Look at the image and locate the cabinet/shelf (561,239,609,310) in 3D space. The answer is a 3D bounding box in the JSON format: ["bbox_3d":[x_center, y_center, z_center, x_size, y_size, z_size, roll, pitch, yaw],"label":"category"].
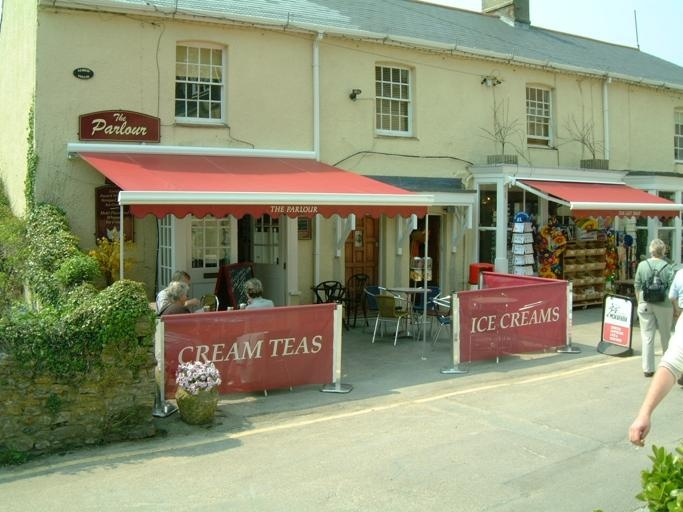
[{"bbox_3d":[6.235,0.488,20.938,1.754,1.909,0.770,-2,2,-34],"label":"cabinet/shelf"}]

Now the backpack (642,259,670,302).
[{"bbox_3d":[5.617,0.452,14.444,0.391,0.659,0.337,0,10,36],"label":"backpack"}]

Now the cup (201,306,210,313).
[{"bbox_3d":[-2.466,0.954,14.607,0.142,0.095,0.141,0,-1,0],"label":"cup"}]

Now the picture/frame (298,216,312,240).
[{"bbox_3d":[-0.872,-0.649,18.738,0.047,0.481,0.468,-6,-8,43],"label":"picture/frame"}]

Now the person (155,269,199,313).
[{"bbox_3d":[-3.134,0.657,15.335,0.693,1.288,0.547,-7,15,-30],"label":"person"}]

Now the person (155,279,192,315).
[{"bbox_3d":[-2.978,0.743,14.408,0.617,0.729,0.386,9,10,44],"label":"person"}]

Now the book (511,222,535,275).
[{"bbox_3d":[4.596,-0.216,20.564,0.483,1.412,0.401,-1,3,4],"label":"book"}]

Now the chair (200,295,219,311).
[{"bbox_3d":[-2.583,0.900,15.758,0.309,0.243,0.321,0,-2,11],"label":"chair"}]

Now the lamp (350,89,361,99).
[{"bbox_3d":[0.341,-3.845,19.430,0.331,0.286,0.154,-4,3,-42],"label":"lamp"}]

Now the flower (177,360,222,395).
[{"bbox_3d":[-2.242,1.835,12.468,0.515,0.366,0.521,1,5,-26],"label":"flower"}]

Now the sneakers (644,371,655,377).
[{"bbox_3d":[5.483,2.088,14.454,0.089,0.076,0.117,0,-3,-6],"label":"sneakers"}]
